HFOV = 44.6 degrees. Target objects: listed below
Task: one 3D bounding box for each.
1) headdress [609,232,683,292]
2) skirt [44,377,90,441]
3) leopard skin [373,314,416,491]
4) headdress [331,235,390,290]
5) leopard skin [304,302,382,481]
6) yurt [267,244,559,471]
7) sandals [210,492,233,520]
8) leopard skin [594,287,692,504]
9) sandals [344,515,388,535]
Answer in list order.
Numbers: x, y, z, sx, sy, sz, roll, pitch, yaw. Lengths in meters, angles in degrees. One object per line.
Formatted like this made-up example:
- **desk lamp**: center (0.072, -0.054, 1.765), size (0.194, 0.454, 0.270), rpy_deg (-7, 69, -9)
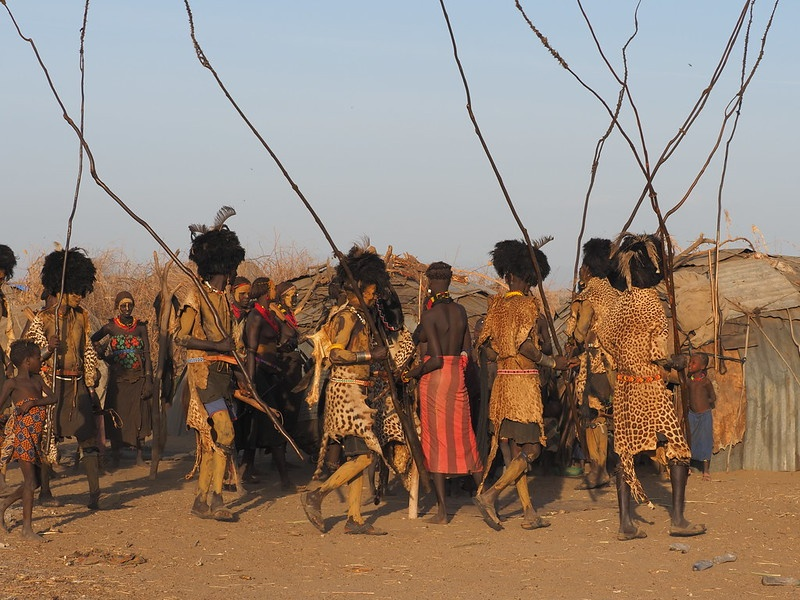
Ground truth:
- **headdress**: center (2.093, -0.309, 8.429), size (0.486, 0.576, 0.547), rpy_deg (3, 35, 2)
- **skirt**: center (-3.143, 1.087, 9.382), size (0.368, 0.642, 0.442), rpy_deg (-2, -3, -18)
- **leopard skin**: center (0.119, 0.942, 8.974), size (0.376, 1.542, 0.870), rpy_deg (0, 2, 16)
- **headdress**: center (-0.337, -0.299, 8.726), size (0.471, 0.446, 0.547), rpy_deg (-3, -3, -6)
- **leopard skin**: center (-0.500, 0.805, 8.678), size (0.635, 1.556, 0.394), rpy_deg (-4, -3, 6)
- **yurt**: center (0.125, 0.715, 9.384), size (2.653, 0.984, 2.371), rpy_deg (-1, -8, -1)
- **sandals**: center (-1.631, 1.864, 8.810), size (0.154, 0.208, 0.301), rpy_deg (3, -32, -14)
- **leopard skin**: center (2.108, 0.820, 8.409), size (0.699, 1.841, 0.317), rpy_deg (-4, -3, 23)
- **sandals**: center (-0.320, 2.005, 8.696), size (0.437, 0.162, 0.143), rpy_deg (0, 1, -3)
